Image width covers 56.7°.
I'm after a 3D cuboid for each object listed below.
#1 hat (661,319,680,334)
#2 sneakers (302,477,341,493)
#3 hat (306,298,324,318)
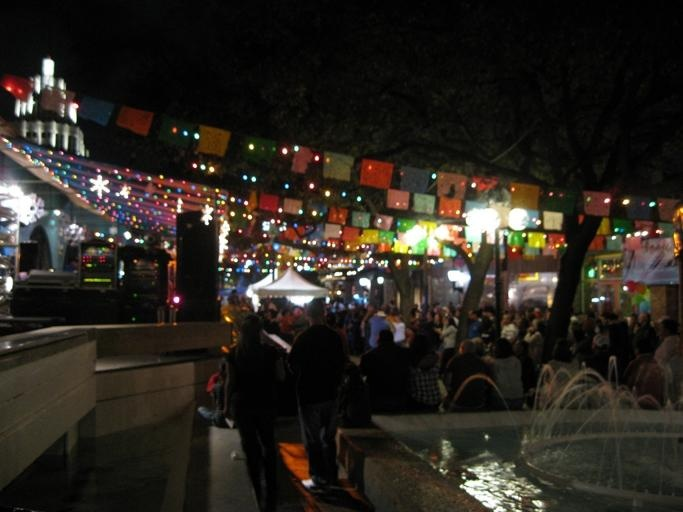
[{"bbox_3d":[6.851,1.471,13.106,0.304,0.372,0.382,2,7,12],"label":"hat"},{"bbox_3d":[-0.274,3.070,8.567,0.573,0.242,0.194,-5,0,3],"label":"sneakers"},{"bbox_3d":[-0.352,0.742,8.983,0.242,0.288,0.282,6,-4,-4],"label":"hat"}]
